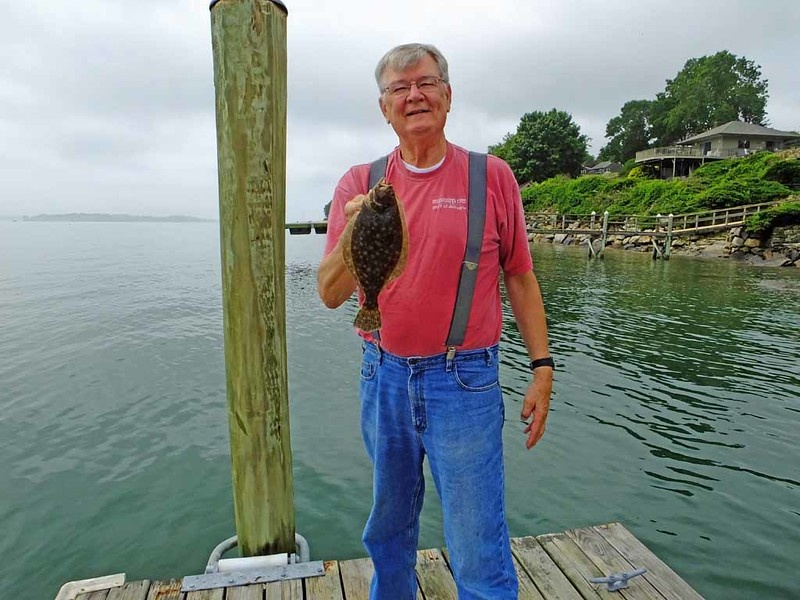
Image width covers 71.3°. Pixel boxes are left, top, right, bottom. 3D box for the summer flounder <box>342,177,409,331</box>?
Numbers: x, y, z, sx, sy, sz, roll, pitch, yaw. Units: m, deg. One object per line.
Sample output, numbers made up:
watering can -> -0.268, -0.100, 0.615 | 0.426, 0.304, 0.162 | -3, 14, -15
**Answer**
summer flounder -> -0.165, -0.274, 3.877 | 0.439, 1.071, 0.221 | -1, 11, 1
